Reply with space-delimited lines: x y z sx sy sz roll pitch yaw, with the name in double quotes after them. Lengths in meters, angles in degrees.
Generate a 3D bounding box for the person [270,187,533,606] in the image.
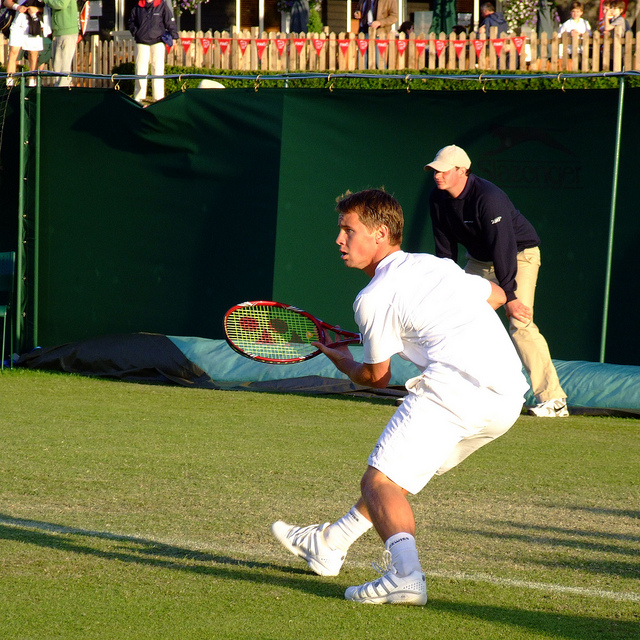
0.414 0.363 7.005 1.003 1.898 0.719 5 9 22 "person"

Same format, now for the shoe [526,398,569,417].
1.647 0.629 10.736 0.293 0.230 0.114 3 -2 -8 "shoe"

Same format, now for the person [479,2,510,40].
2.163 -3.738 18.573 0.345 0.443 0.902 2 10 6 "person"

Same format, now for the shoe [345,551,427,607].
0.300 1.224 6.893 0.377 0.299 0.145 -2 -31 7 "shoe"
